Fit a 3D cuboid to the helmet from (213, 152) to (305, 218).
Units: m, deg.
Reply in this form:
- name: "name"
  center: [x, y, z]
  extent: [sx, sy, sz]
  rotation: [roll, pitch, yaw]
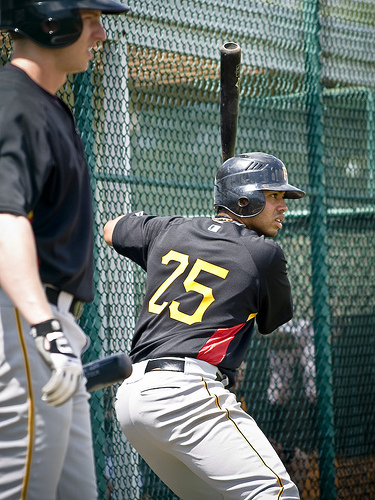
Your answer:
- name: "helmet"
  center: [0.293, -0.271, 3.337]
  extent: [0.362, 0.298, 0.311]
  rotation: [0, 89, -9]

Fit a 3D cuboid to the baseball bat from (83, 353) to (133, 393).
- name: "baseball bat"
  center: [-0.218, 0.323, 2.152]
  extent: [0.131, 0.124, 0.086]
  rotation: [-17, 53, -9]

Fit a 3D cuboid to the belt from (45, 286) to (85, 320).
- name: "belt"
  center: [-0.345, 0.141, 2.160]
  extent: [0.069, 0.100, 0.034]
  rotation: [10, 36, 25]
